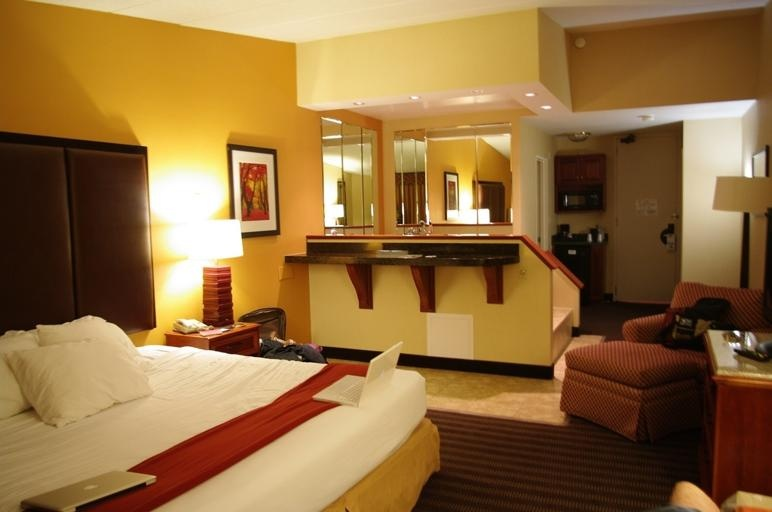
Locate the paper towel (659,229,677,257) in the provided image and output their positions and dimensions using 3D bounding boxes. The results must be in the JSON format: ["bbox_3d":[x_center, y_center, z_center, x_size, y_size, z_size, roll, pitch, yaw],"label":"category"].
[{"bbox_3d":[5.436,-0.268,10.471,0.301,0.471,0.083,1,15,15],"label":"paper towel"}]

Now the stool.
[{"bbox_3d":[2.443,1.183,5.288,0.930,0.613,0.931,2,-1,-33],"label":"stool"}]

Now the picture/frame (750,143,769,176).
[{"bbox_3d":[4.577,-1.152,6.629,0.076,0.400,1.175,5,16,27],"label":"picture/frame"}]

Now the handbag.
[{"bbox_3d":[3.163,0.688,5.537,0.563,0.568,0.247,-2,-21,41],"label":"handbag"}]

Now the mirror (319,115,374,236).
[{"bbox_3d":[-0.618,-1.197,8.018,0.038,1.998,1.800,2,4,29],"label":"mirror"}]

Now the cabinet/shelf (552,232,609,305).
[{"bbox_3d":[4.109,0.196,11.378,1.296,1.980,1.348,1,2,19],"label":"cabinet/shelf"}]
